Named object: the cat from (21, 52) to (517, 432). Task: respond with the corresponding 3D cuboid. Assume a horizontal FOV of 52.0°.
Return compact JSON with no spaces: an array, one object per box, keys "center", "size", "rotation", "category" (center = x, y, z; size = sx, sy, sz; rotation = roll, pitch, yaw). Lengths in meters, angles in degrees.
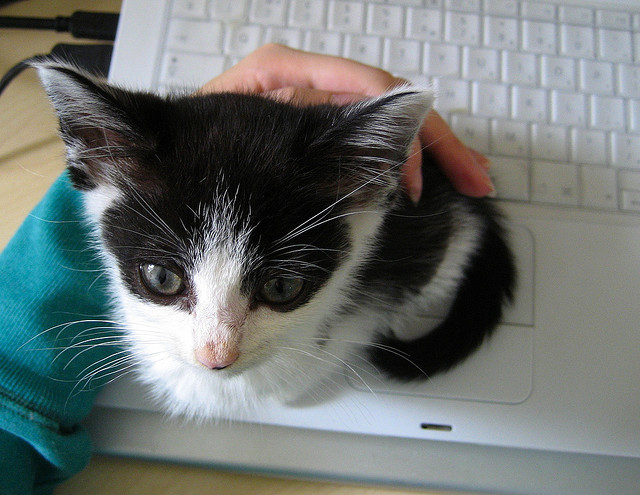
[{"center":[-0.049,0.076,1.705],"size":[0.959,1.063,0.787],"rotation":[-5,104,32],"category":"cat"}]
